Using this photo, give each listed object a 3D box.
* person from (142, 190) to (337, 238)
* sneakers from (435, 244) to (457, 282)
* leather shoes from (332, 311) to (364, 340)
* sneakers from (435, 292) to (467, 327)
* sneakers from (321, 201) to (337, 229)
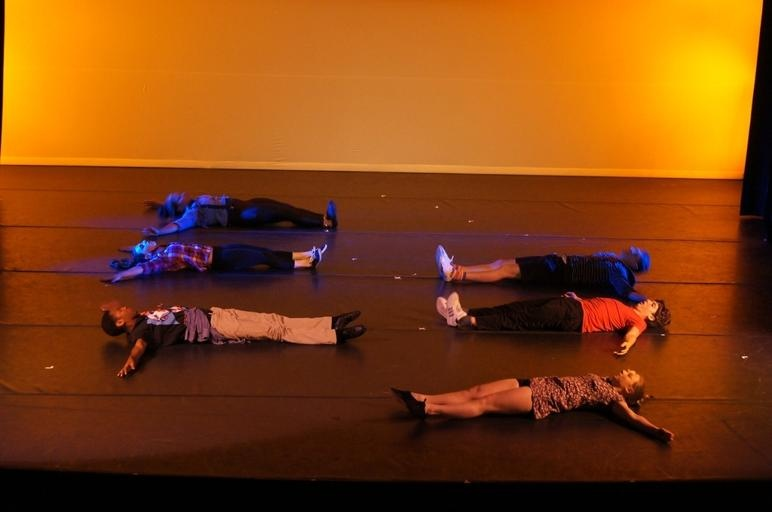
[{"bbox_3d":[-1.452,-0.410,8.245,1.296,0.203,0.721,6,-1,0],"label":"person"},{"bbox_3d":[0.532,0.077,7.272,0.170,0.351,0.132,-7,1,-30],"label":"sneakers"},{"bbox_3d":[-0.302,0.561,6.299,0.234,0.092,0.222,-26,46,12],"label":"leather shoes"},{"bbox_3d":[0.547,0.438,6.567,0.180,0.300,0.147,-20,-9,35],"label":"sneakers"},{"bbox_3d":[-0.560,-0.411,8.328,0.112,0.262,0.207,7,16,-16],"label":"sneakers"}]
